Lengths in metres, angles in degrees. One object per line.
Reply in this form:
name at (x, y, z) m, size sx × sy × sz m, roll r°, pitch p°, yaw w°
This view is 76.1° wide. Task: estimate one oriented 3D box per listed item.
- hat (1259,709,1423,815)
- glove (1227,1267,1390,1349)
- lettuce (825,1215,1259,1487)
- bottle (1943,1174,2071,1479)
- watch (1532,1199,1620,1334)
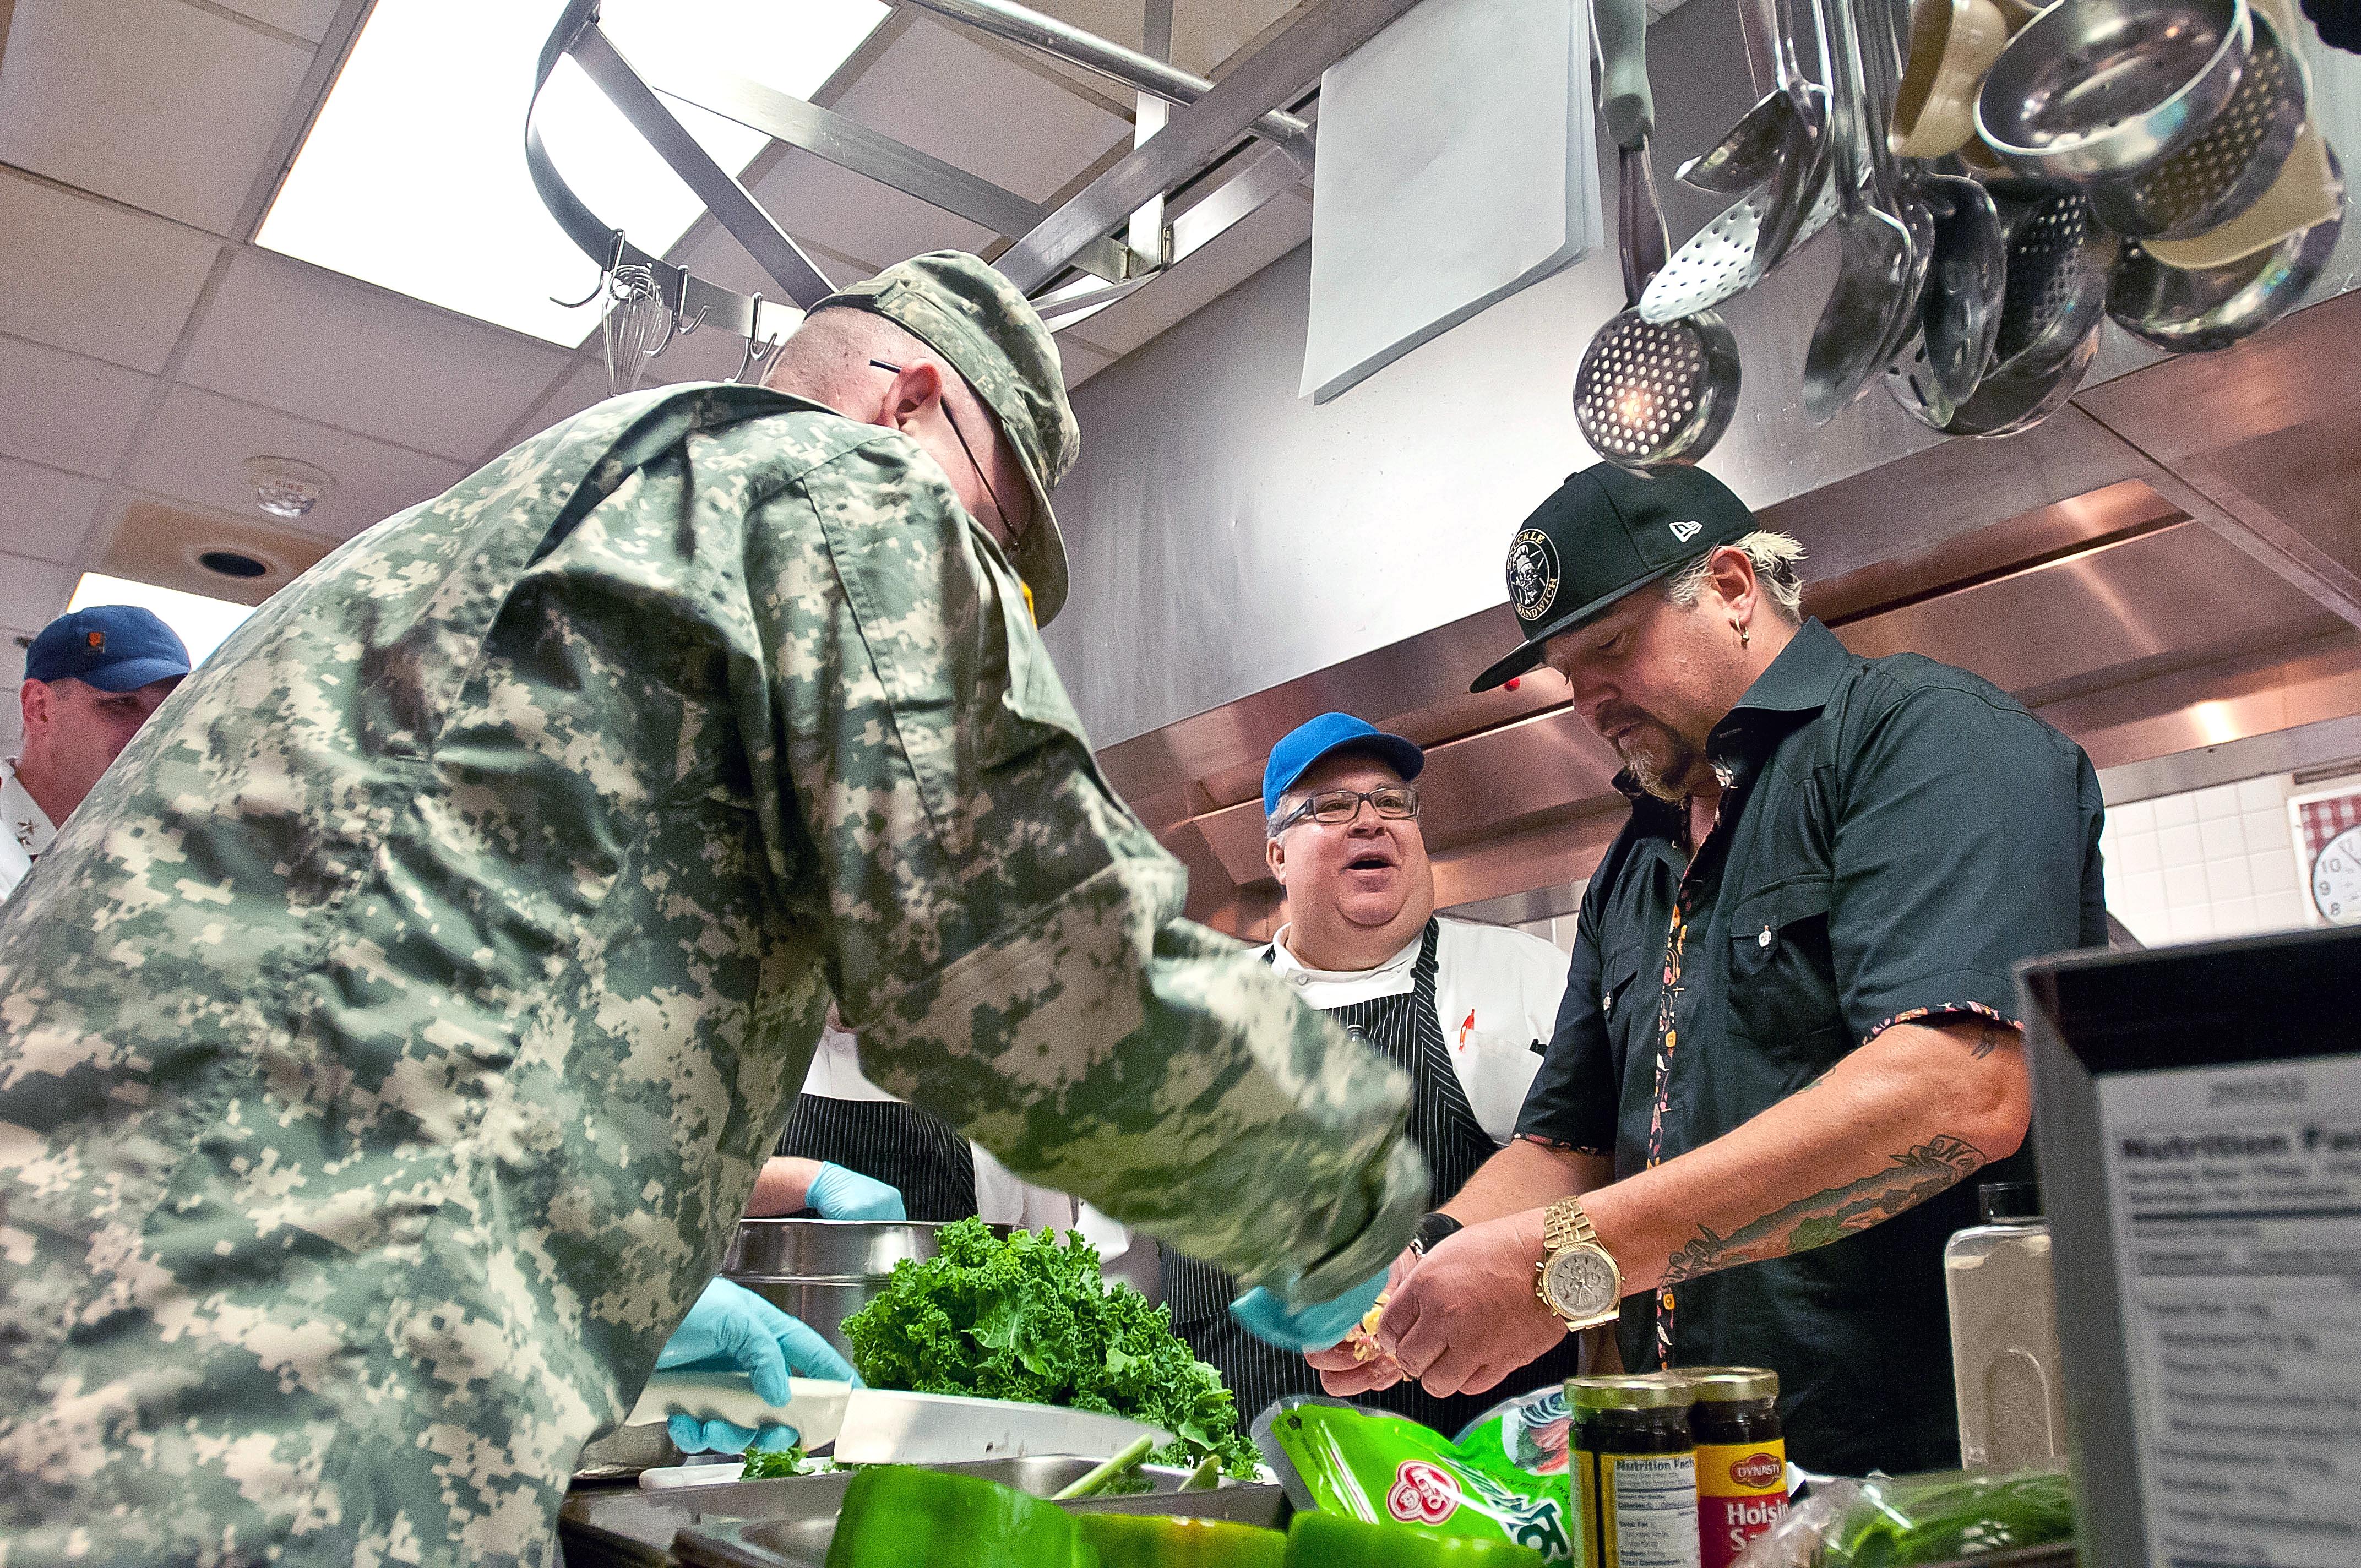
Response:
hat at (0.310, -0.042, 2.811) m, size 0.183 × 0.132 × 0.287 m, roll -9°, pitch -12°, yaw -40°
glove at (0.079, 0.356, 1.009) m, size 0.072 × 0.037 × 0.100 m, roll -9°, pitch -10°, yaw -46°
lettuce at (-0.164, 0.546, 1.540) m, size 0.295 × 0.172 × 0.327 m, roll 3°, pitch -3°, yaw -22°
bottle at (0.518, 0.339, 0.958) m, size 0.036 × 0.166 × 0.112 m, roll 4°, pitch -21°, yaw -17°
watch at (0.363, 0.442, 1.388) m, size 0.072 × 0.113 × 0.118 m, roll -14°, pitch -9°, yaw 7°
